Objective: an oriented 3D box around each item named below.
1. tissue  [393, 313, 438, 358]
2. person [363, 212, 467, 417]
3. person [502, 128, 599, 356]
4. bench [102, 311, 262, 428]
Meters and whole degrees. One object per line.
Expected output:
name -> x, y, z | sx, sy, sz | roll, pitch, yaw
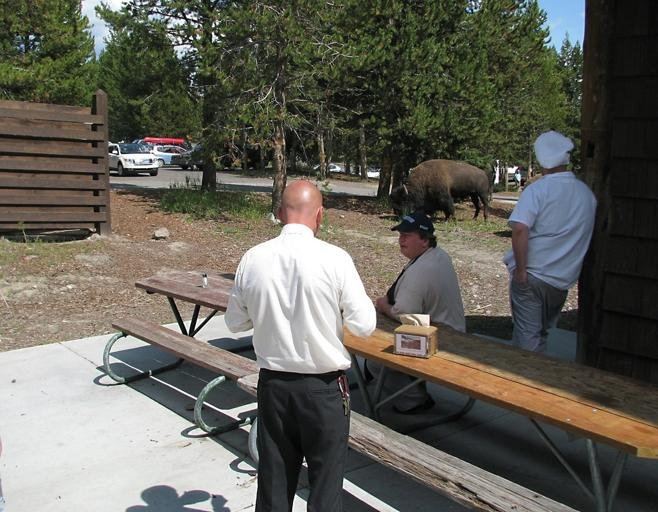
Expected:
tissue  -> 0.636, 0.527, 3.812 | 0.417, 0.236, 0.494 | 4, 9, 18
person -> 0.712, 0.495, 4.686 | 1.199, 1.654, 0.843 | 5, 9, 34
person -> 1.723, -0.092, 4.612 | 0.745, 1.641, 0.920 | 0, 0, 11
bench -> -1.299, 1.085, 4.914 | 2.202, 0.506, 0.837 | 9, 6, 43
